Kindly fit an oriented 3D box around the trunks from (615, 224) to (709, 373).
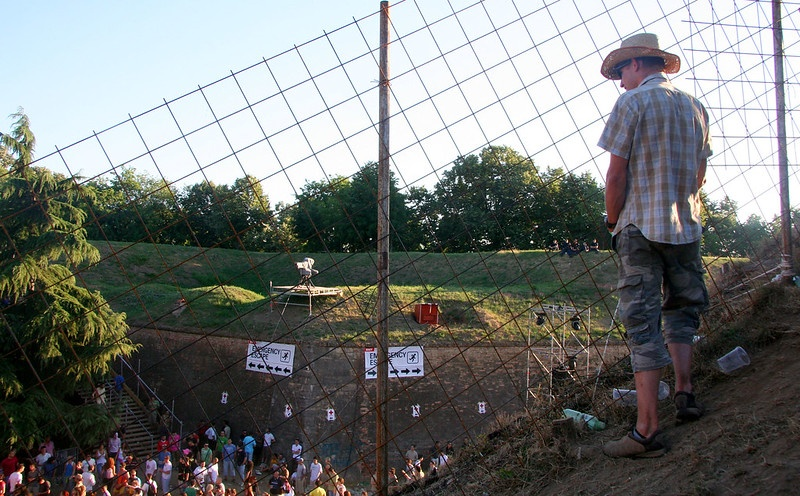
[{"bbox_3d":[5.068,0.683,12.723,0.734,2.317,1.302,-3,2,-22],"label":"trunks"}]
